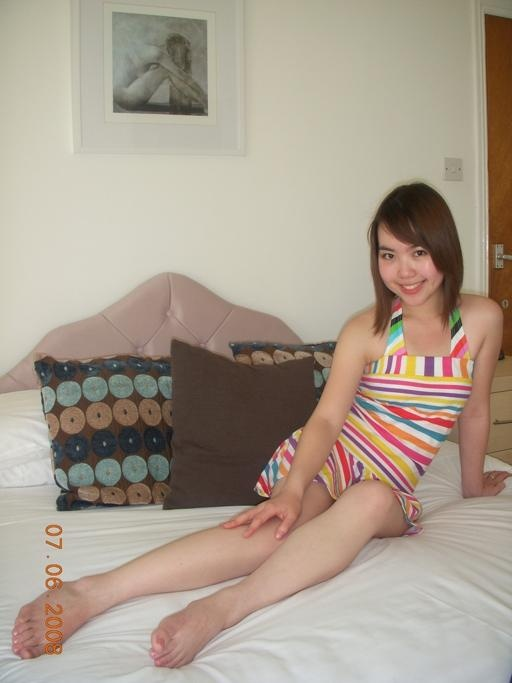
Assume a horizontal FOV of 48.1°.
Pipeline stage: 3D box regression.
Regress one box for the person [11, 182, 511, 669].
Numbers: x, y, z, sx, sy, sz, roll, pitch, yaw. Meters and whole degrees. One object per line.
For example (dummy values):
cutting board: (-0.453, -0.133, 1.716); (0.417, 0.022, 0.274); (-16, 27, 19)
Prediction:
person: (0.031, 0.061, 1.356); (1.359, 0.738, 0.491); (-15, 16, -37)
